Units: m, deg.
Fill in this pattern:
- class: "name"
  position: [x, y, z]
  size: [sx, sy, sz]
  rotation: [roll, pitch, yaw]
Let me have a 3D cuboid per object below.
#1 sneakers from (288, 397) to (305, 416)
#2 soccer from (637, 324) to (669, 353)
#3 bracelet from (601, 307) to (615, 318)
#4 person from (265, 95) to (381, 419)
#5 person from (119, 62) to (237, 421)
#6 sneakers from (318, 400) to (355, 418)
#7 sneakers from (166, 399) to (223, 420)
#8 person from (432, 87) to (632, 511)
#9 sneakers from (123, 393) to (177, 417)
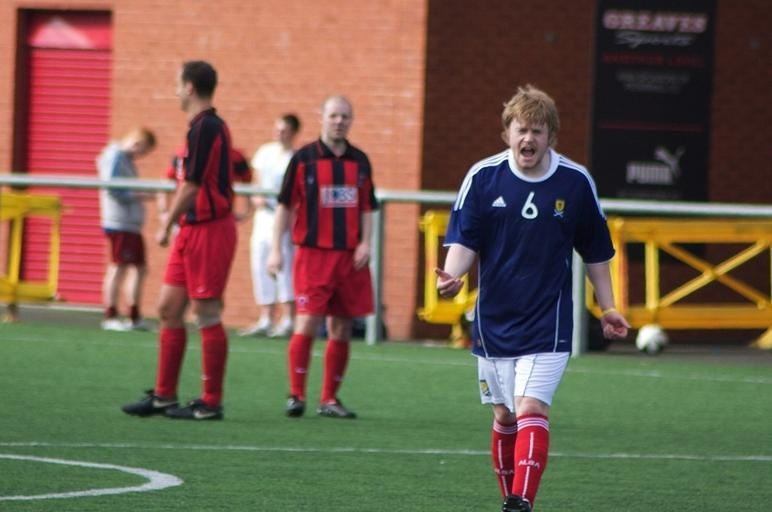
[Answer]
- class: "sneakers"
  position: [-0.820, 1.366, 13.554]
  size: [0.132, 0.088, 0.163]
  rotation: [18, 29, -15]
- class: "soccer"
  position: [3.038, 0.945, 17.013]
  size: [0.325, 0.337, 0.377]
  rotation: [1, -2, 38]
- class: "bracelet"
  position: [1.747, 0.447, 11.727]
  size: [0.062, 0.075, 0.079]
  rotation: [4, -2, -5]
- class: "person"
  position: [-0.578, 0.004, 13.653]
  size: [0.966, 2.933, 0.473]
  rotation: [3, -1, -5]
- class: "person"
  position: [-1.697, -0.159, 13.226]
  size: [0.723, 2.187, 0.522]
  rotation: [3, -1, -8]
- class: "sneakers"
  position: [-0.459, 1.408, 13.697]
  size: [0.350, 0.145, 0.135]
  rotation: [1, -7, 16]
- class: "sneakers"
  position: [-1.686, 1.375, 13.224]
  size: [0.492, 0.180, 0.185]
  rotation: [5, -10, -6]
- class: "person"
  position: [1.078, 0.300, 11.546]
  size: [1.342, 3.299, 0.655]
  rotation: [2, -1, 6]
- class: "sneakers"
  position: [-2.092, 1.327, 13.353]
  size: [0.544, 0.224, 0.191]
  rotation: [1, -6, -10]
